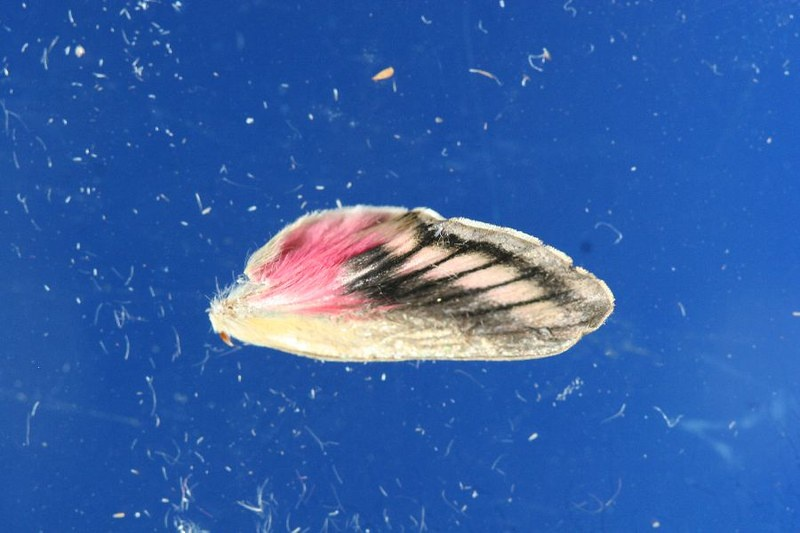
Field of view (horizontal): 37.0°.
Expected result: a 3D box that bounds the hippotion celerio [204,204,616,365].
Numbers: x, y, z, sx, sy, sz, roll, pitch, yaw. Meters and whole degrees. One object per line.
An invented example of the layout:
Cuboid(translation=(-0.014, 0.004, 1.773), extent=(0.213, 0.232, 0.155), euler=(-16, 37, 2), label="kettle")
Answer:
Cuboid(translation=(0.109, 0.167, 6.890), extent=(2.242, 0.575, 1.052), euler=(-2, 95, 0), label="hippotion celerio")
